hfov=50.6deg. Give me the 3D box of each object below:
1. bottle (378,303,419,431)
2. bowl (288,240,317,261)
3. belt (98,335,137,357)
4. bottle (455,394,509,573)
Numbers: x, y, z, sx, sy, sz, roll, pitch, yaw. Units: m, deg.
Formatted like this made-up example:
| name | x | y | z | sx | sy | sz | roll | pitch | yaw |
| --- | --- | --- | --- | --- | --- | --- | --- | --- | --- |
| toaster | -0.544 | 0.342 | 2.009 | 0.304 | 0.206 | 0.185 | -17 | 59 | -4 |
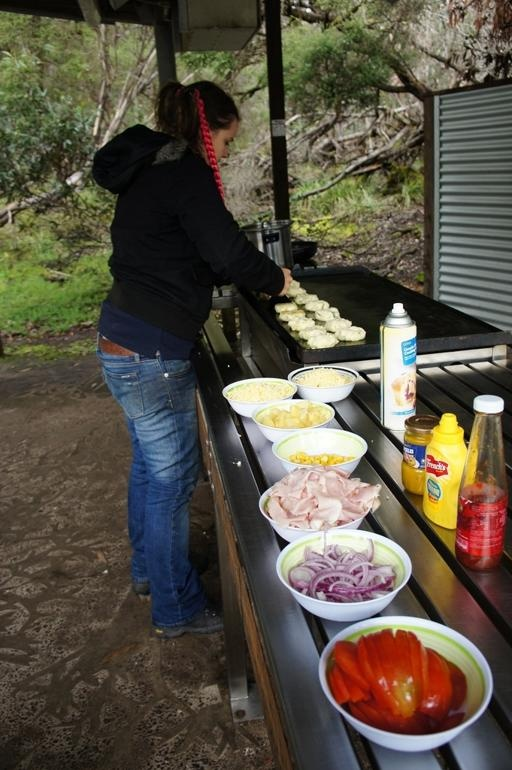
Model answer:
| name | x | y | z | sx | sy | sz | roll | pitch | yaw |
| --- | --- | --- | --- | --- | --- | --- | --- | --- | --- |
| bottle | 0.321 | -0.044 | 1.242 | 0.097 | 0.265 | 0.114 | -9 | 17 | -11 |
| bowl | 0.285 | -0.837 | 3.343 | 0.170 | 0.069 | 0.165 | 0 | 39 | 0 |
| belt | -0.500 | -0.152 | 1.956 | 0.106 | 0.028 | 0.084 | 9 | -6 | 32 |
| bottle | 0.316 | 0.149 | 0.761 | 0.061 | 0.235 | 0.050 | 2 | 20 | 21 |
